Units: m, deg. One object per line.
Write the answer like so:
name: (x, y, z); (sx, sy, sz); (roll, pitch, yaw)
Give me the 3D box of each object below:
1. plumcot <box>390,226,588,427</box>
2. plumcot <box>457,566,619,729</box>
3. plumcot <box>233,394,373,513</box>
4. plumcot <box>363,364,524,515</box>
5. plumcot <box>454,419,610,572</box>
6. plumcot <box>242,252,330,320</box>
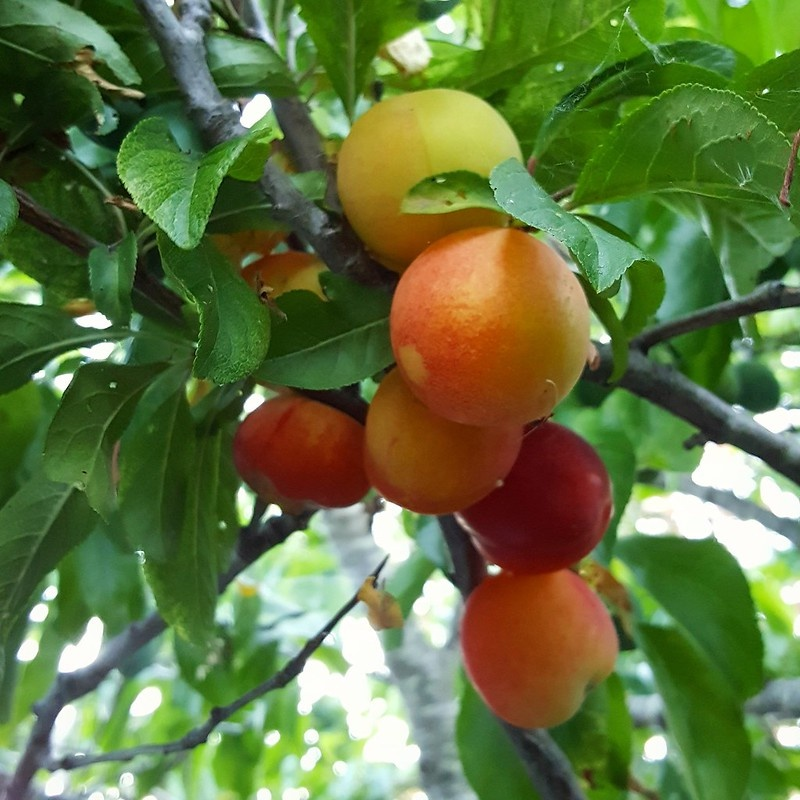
plumcot: (0.065, -0.065, 0.670); (0.166, 0.162, 0.158); (1, 11, 8)
plumcot: (0.153, 0.259, 0.861); (0.185, 0.156, 0.154); (-1, 64, -14)
plumcot: (-0.101, 0.059, 0.883); (0.144, 0.091, 0.090); (10, 49, 16)
plumcot: (0.045, 0.037, 0.783); (0.162, 0.141, 0.146); (8, -2, 15)
plumcot: (0.137, 0.103, 0.854); (0.161, 0.154, 0.150); (6, 3, -1)
plumcot: (-0.117, -0.112, 0.831); (0.092, 0.050, 0.088); (-5, 17, -26)
